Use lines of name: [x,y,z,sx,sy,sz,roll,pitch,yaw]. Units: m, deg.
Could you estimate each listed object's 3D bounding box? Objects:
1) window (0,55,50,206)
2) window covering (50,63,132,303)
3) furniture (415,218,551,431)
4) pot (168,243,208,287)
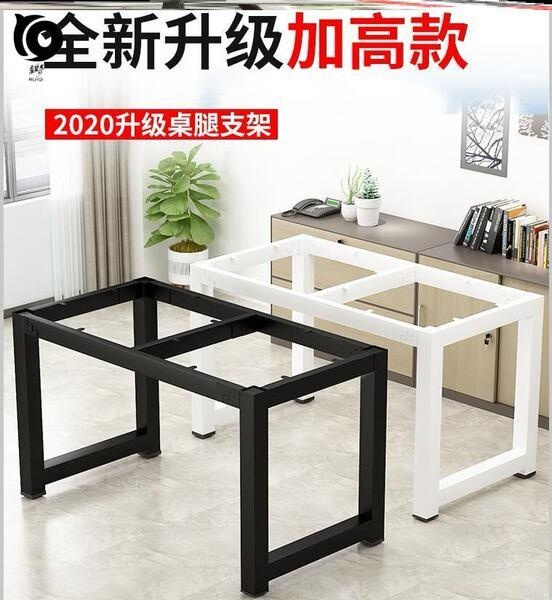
window: [-2.746,-1.772,6.590,0.298,1.401,0.547,12,21,42]
window covering: [-2.117,-0.927,6.984,1.019,1.725,0.312,-9,17,-22]
furniture: [1.569,0.215,4.527,0.544,1.243,1.386,-15,23,-42]
pot: [-1.026,-0.434,7.146,0.512,0.470,0.553,1,15,0]
